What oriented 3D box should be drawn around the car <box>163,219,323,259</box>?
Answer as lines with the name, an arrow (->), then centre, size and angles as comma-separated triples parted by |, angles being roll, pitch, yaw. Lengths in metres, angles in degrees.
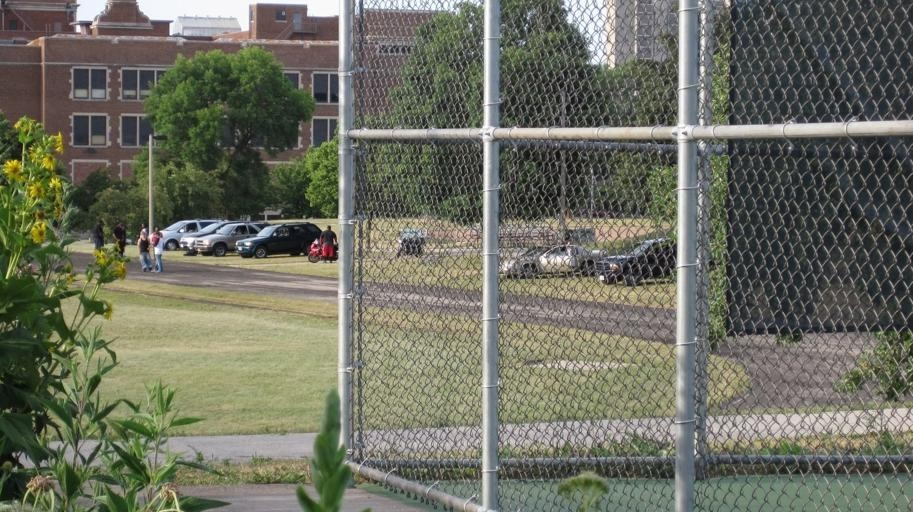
car -> -7.494, -0.643, 62.432 | 3.157, 1.013, 4.545 | 1, 1, -34

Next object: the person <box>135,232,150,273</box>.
person -> -9.791, -0.234, 52.065 | 0.392, 0.958, 1.809 | 2, 1, -10

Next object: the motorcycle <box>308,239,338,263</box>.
motorcycle -> -4.608, -0.114, 57.417 | 1.070, 0.842, 1.758 | -2, 0, -25

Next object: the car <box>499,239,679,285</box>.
car -> 2.282, 0.050, 29.704 | 2.905, 0.713, 1.697 | 2, 1, 1
